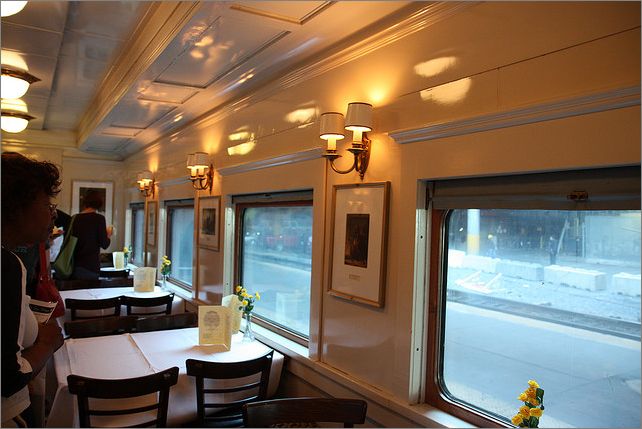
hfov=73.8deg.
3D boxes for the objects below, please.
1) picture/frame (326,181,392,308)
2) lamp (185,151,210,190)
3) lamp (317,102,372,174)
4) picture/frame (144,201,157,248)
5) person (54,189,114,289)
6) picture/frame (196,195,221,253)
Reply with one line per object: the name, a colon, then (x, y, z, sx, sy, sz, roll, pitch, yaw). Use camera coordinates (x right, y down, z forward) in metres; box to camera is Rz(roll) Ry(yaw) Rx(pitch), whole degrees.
picture/frame: (0.288, 0.208, 3.375, 0.109, 0.937, 0.601, 1, 0, -36)
lamp: (-1.585, -0.553, 5.554, 0.290, 0.423, 0.637, 1, 0, -25)
lamp: (0.151, -0.564, 3.540, 0.326, 0.542, 0.543, -1, 8, 2)
picture/frame: (-3.023, 0.168, 7.652, 0.049, 0.976, 0.846, 3, -3, -32)
person: (-3.321, 0.464, 5.929, 0.701, 1.684, 0.496, 3, 15, -32)
picture/frame: (-1.411, 0.108, 5.443, 0.040, 0.771, 0.775, 2, -2, -33)
